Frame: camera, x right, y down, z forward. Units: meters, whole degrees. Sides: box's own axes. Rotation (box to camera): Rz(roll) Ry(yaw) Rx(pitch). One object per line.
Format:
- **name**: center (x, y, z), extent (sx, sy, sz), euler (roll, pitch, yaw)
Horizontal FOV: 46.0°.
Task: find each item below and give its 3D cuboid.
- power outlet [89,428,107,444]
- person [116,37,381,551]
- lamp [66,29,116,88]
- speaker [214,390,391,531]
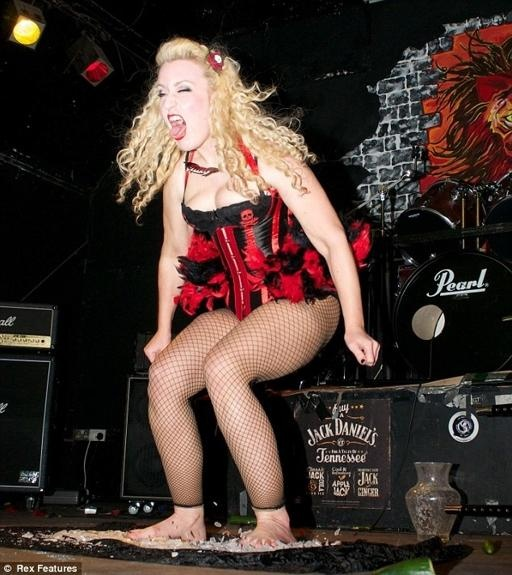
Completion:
- **power outlet**: center (-0.932, 0.876, 3.560), extent (0.106, 0.062, 0.082), euler (0, -6, -12)
- **person**: center (-0.088, -0.053, 1.667), extent (0.863, 1.397, 0.523), euler (-7, -8, 42)
- **lamp**: center (-1.002, -1.382, 3.673), extent (0.202, 0.220, 0.222), euler (-6, -7, 39)
- **speaker**: center (0.179, 0.531, 1.853), extent (0.675, 0.485, 0.223), euler (-3, -10, 20)
